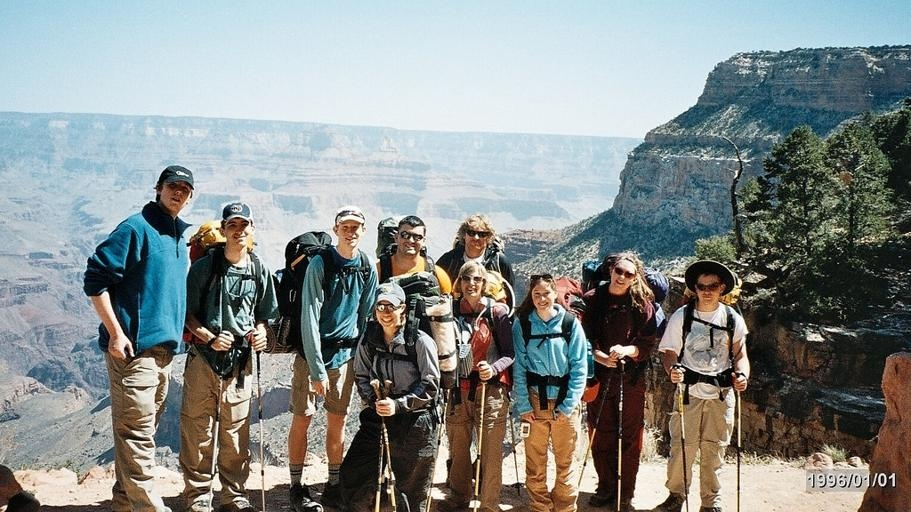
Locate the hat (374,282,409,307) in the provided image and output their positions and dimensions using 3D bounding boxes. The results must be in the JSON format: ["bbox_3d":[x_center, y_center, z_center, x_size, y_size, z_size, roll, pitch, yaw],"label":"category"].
[{"bbox_3d":[-1.869,1.151,22.023,0.691,0.738,0.956,0,10,4],"label":"hat"}]
